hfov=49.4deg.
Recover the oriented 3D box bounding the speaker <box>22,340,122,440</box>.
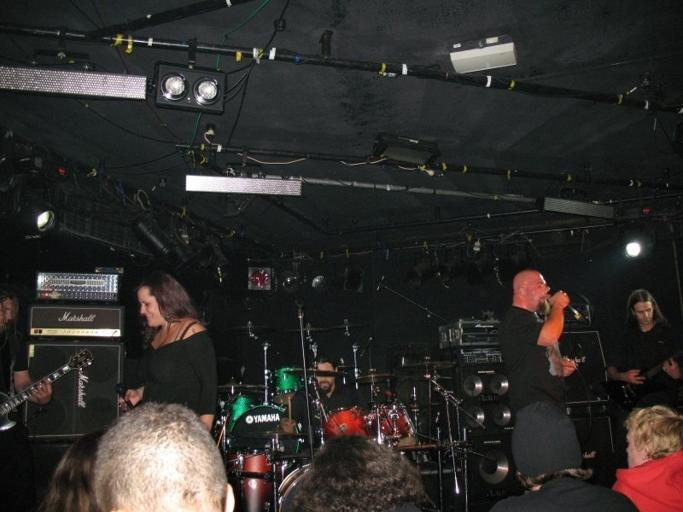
[{"bbox_3d":[-2.828,1.380,7.682,1.037,0.967,0.570,0,-8,-12],"label":"speaker"}]

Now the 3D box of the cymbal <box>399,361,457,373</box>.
[{"bbox_3d":[1.049,1.302,8.980,0.357,0.098,0.746,7,-14,-28],"label":"cymbal"}]

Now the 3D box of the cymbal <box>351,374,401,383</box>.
[{"bbox_3d":[0.428,1.506,9.339,0.279,0.063,0.272,9,-25,-24],"label":"cymbal"}]

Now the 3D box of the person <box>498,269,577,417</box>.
[{"bbox_3d":[1.675,0.697,6.446,0.759,1.280,0.574,12,-17,-42],"label":"person"}]

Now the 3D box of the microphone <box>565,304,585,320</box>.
[{"bbox_3d":[3.156,0.733,10.022,0.231,0.225,0.061,33,-56,-28],"label":"microphone"}]

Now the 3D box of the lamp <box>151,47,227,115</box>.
[{"bbox_3d":[-1.446,-1.511,7.065,0.825,0.503,0.418,4,5,-14],"label":"lamp"}]

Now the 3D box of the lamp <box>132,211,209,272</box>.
[{"bbox_3d":[-2.201,-0.179,9.594,0.333,0.569,0.966,-11,-16,42],"label":"lamp"}]

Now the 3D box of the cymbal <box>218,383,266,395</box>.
[{"bbox_3d":[-1.189,1.562,8.863,0.428,0.096,0.416,1,-8,-17],"label":"cymbal"}]

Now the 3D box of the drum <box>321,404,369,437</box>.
[{"bbox_3d":[0.049,1.891,8.641,0.448,0.331,0.515,4,-13,-15],"label":"drum"}]

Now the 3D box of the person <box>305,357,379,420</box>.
[{"bbox_3d":[-0.040,1.790,10.538,0.996,0.908,0.656,-1,-13,-8],"label":"person"}]
